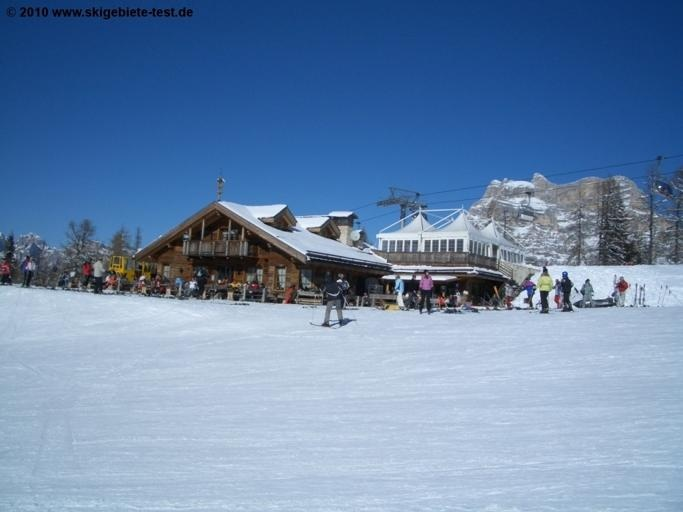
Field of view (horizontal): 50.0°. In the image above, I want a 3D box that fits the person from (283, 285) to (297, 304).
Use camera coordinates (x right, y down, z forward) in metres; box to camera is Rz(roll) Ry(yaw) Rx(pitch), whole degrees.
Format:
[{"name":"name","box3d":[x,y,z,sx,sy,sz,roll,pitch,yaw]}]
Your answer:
[{"name":"person","box3d":[-2.745,2.004,38.589,0.759,1.102,0.472,5,-18,1]}]
